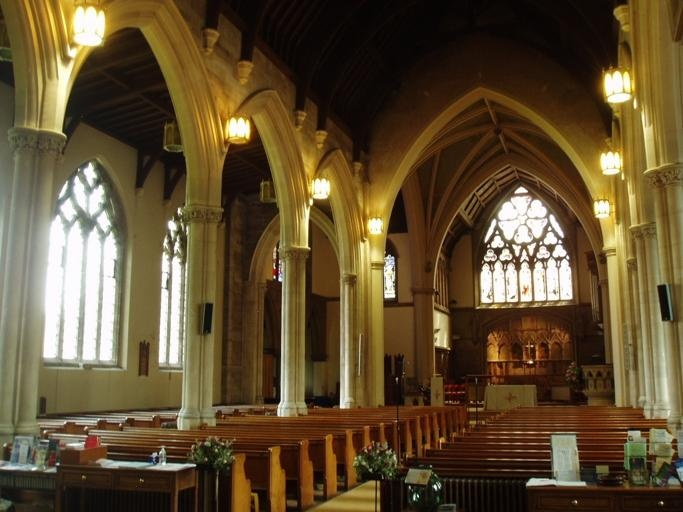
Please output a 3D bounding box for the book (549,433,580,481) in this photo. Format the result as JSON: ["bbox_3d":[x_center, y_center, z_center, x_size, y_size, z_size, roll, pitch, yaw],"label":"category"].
[{"bbox_3d":[2.143,1.922,6.234,0.251,0.433,0.260,-6,-15,16],"label":"book"}]

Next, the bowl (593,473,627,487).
[{"bbox_3d":[2.515,2.071,6.045,0.287,0.108,0.226,-5,-16,10],"label":"bowl"}]

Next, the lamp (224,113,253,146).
[{"bbox_3d":[-2.219,-2.697,13.742,0.571,0.667,0.584,-5,-8,18],"label":"lamp"}]

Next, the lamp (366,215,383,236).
[{"bbox_3d":[1.071,-0.980,20.508,0.515,0.473,0.601,-1,-15,-4],"label":"lamp"}]

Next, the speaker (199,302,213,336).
[{"bbox_3d":[-2.628,1.200,12.652,0.269,0.658,0.193,5,-15,-25],"label":"speaker"}]

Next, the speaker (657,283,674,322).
[{"bbox_3d":[5.197,0.734,10.465,0.215,0.577,0.125,-5,-8,8],"label":"speaker"}]

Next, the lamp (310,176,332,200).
[{"bbox_3d":[-0.586,-1.795,16.814,0.452,0.566,0.377,-4,-15,7],"label":"lamp"}]

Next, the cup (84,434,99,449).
[{"bbox_3d":[-2.945,2.169,7.643,0.162,0.157,0.405,4,-17,-22],"label":"cup"}]
